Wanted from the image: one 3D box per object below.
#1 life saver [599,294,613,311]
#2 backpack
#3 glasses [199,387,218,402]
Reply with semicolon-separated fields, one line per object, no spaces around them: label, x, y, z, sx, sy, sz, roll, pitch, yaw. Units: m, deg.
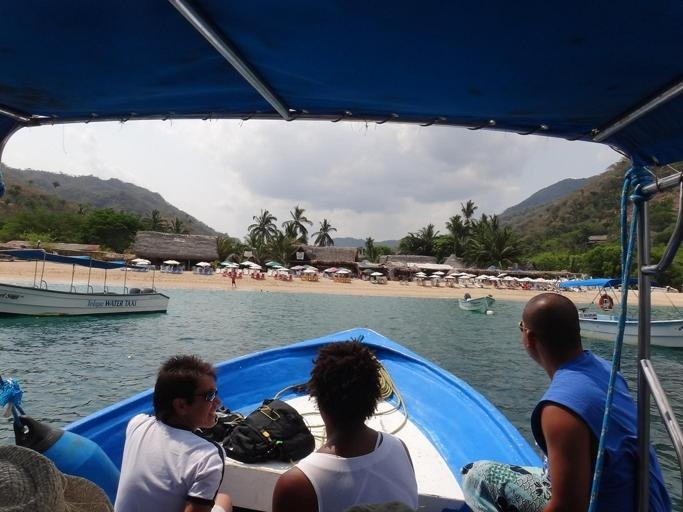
life saver;10.170;1.945;17.089;0.275;0.861;0.915;-5;27;37
backpack;-0.545;1.357;3.323;0.590;0.197;0.427;-6;16;-38
glasses;-0.750;0.791;2.497;0.085;0.021;0.076;-1;-2;8
